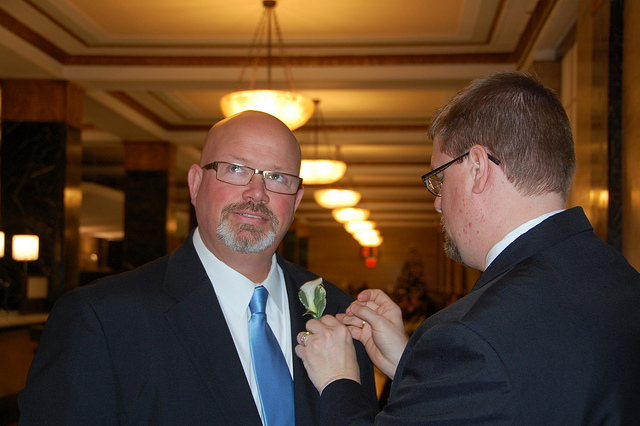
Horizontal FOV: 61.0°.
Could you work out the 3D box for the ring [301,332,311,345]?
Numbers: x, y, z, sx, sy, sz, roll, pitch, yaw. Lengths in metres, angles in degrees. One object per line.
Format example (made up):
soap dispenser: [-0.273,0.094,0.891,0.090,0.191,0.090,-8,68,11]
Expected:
ring: [-0.067,0.555,2.410,0.013,0.043,0.044,16,27,14]
